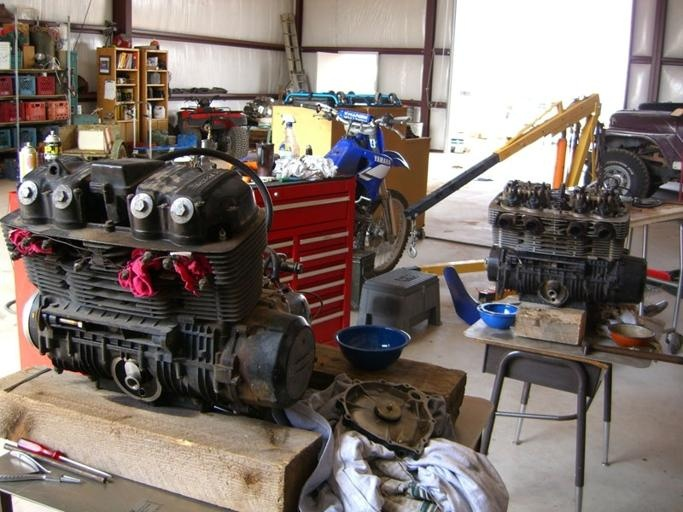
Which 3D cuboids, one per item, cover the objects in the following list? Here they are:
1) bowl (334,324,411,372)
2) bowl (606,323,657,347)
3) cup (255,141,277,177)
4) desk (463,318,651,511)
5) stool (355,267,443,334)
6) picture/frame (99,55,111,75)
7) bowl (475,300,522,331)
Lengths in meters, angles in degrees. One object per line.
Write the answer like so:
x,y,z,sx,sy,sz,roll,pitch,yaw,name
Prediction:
0.102,0.299,1.801,0.238,0.086,0.258,0,13,0,bowl
1.169,0.322,2.222,0.167,0.056,0.189,7,14,25,bowl
-0.461,-0.594,3.371,0.108,0.195,0.219,-1,13,-7,cup
0.897,0.531,2.631,0.738,0.797,0.838,11,20,32,desk
0.408,0.283,3.854,0.455,0.381,0.619,6,13,33,stool
-3.782,-3.076,8.796,0.323,0.340,0.036,4,6,12,picture/frame
0.681,0.262,2.429,0.135,0.049,0.131,4,19,-1,bowl
